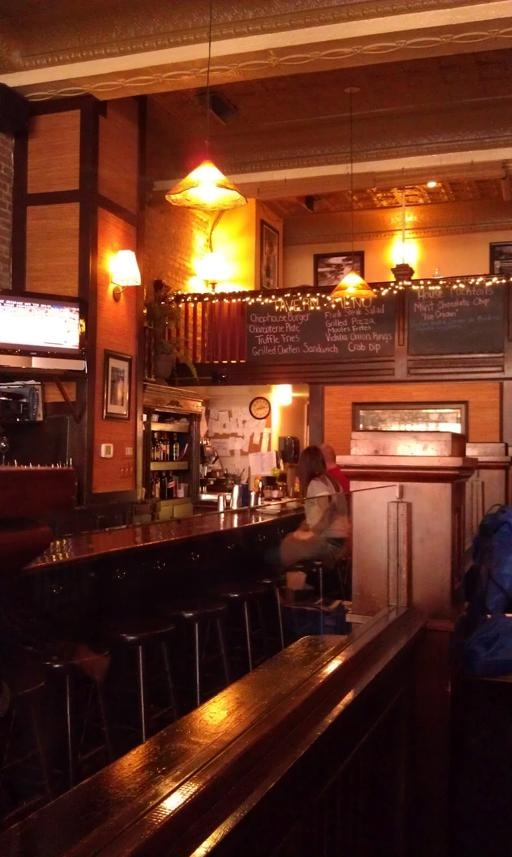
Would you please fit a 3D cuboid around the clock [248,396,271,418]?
[{"bbox_3d":[0.052,-0.283,9.961,0.298,0.328,0.082,-3,-1,22],"label":"clock"}]

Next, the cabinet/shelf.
[{"bbox_3d":[-1.052,0.696,8.276,0.568,1.287,2.204,14,32,-14],"label":"cabinet/shelf"}]
